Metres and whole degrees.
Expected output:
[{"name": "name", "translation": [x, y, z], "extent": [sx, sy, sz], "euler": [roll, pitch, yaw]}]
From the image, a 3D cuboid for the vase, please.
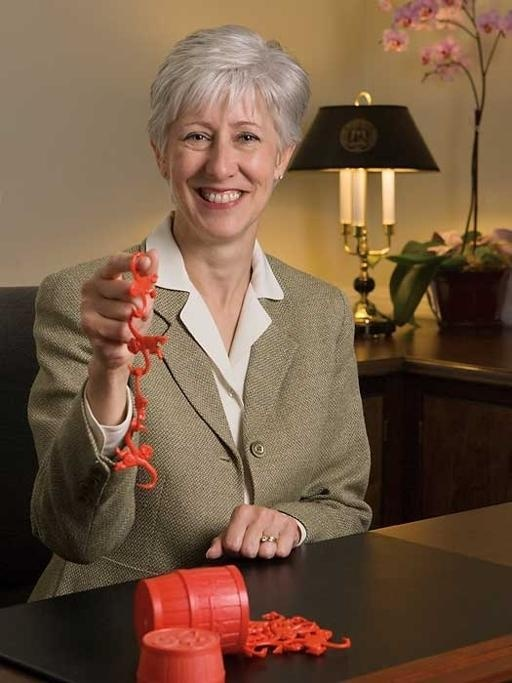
[{"name": "vase", "translation": [0.644, -0.122, 1.920], "extent": [0.206, 0.119, 0.200], "euler": [-1, 0, -1]}]
